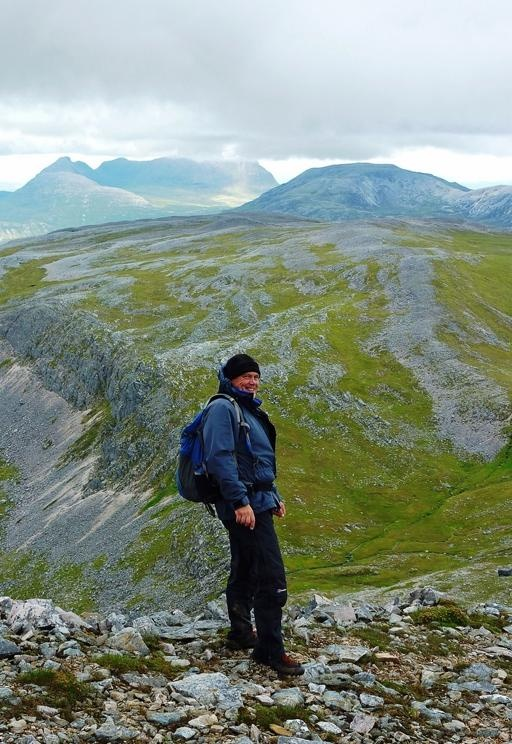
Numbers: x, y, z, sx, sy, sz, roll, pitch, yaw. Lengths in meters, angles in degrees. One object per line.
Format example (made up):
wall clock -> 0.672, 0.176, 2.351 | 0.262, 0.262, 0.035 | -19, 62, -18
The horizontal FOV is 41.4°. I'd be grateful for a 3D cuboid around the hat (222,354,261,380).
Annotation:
hat -> -0.349, -0.123, 14.064 | 0.658, 0.430, 0.587 | -20, 10, 28
